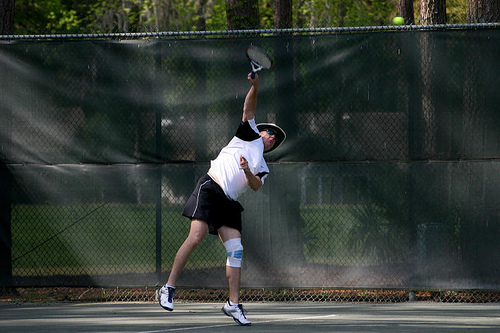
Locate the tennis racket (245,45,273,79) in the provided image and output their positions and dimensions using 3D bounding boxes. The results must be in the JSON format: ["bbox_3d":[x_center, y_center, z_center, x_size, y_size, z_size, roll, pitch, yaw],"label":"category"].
[{"bbox_3d":[0.073,-1.372,10.196,0.402,0.136,0.798,17,38,-8],"label":"tennis racket"}]
